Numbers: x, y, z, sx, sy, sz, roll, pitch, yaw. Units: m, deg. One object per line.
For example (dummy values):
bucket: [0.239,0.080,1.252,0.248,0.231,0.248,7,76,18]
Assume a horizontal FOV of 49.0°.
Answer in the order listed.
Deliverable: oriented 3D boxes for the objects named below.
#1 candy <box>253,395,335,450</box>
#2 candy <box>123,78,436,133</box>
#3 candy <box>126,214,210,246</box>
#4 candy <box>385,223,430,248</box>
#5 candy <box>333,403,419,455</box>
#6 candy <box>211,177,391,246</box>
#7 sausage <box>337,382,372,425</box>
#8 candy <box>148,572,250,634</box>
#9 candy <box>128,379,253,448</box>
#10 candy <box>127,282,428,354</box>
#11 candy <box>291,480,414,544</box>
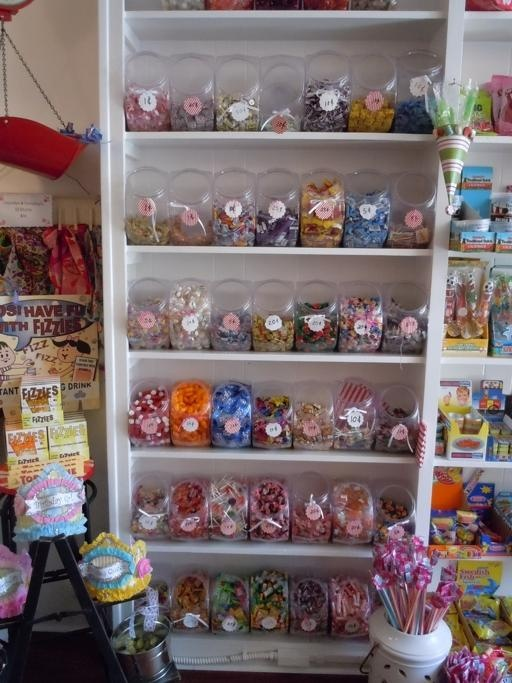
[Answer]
candy: [0.127,0.269,1.829,0.291,0.161,0.182,1,-11,0]
candy: [0.066,-0.722,1.756,0.959,0.179,0.104,-1,8,0]
candy: [-0.287,-0.350,1.831,0.180,0.060,0.128,1,3,3]
candy: [0.494,-0.338,1.814,0.131,0.071,0.040,2,9,17]
candy: [0.476,0.327,2.010,0.281,0.196,0.156,1,43,14]
candy: [0.166,-0.427,1.838,0.532,0.244,0.161,-1,8,-1]
sausage: [0.345,0.203,1.960,0.103,0.044,0.140,7,50,19]
candy: [-0.204,0.977,2.088,0.331,0.182,0.118,1,-6,6]
candy: [-0.222,0.246,2.054,0.451,0.207,0.194,-1,-2,0]
candy: [0.065,-0.088,1.917,0.991,0.261,0.189,-1,8,2]
candy: [0.353,0.583,1.923,0.429,0.196,0.169,2,-3,1]
